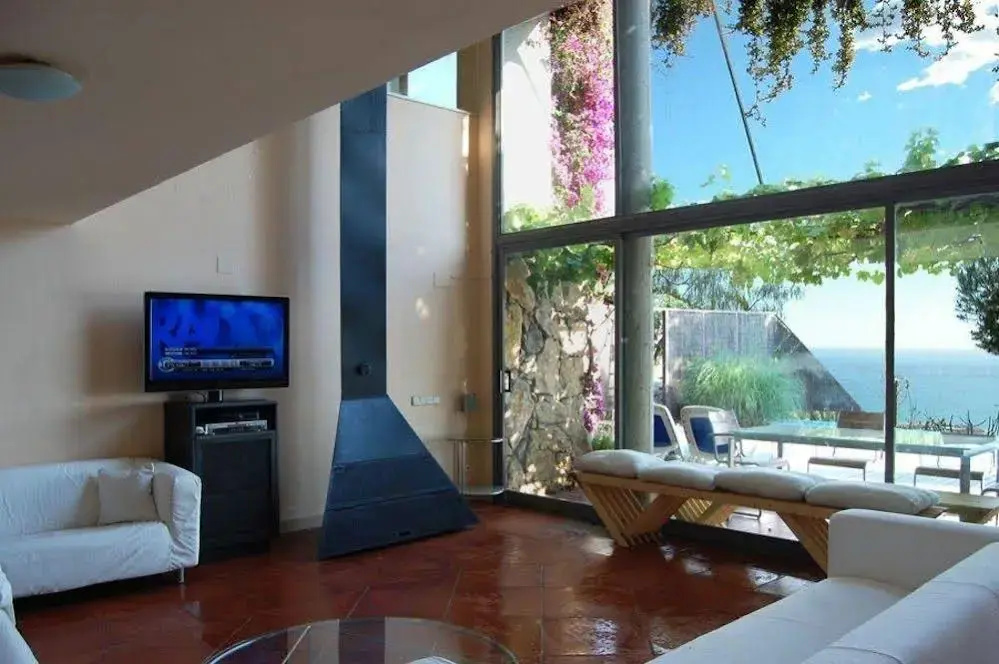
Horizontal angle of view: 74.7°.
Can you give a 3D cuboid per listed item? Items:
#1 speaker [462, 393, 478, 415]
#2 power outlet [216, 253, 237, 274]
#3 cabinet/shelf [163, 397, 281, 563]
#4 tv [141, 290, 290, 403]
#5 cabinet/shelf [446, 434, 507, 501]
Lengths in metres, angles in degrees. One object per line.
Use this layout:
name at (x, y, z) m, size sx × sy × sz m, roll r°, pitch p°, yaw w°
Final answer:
speaker at (-0.360, 0.840, 7.675) m, size 0.217 × 0.295 × 0.213 m, roll -1°, pitch 1°, yaw -21°
power outlet at (-2.603, -0.671, 6.249) m, size 0.211 × 0.237 × 0.035 m, roll 2°, pitch -4°, yaw -41°
cabinet/shelf at (-2.529, 1.335, 6.020) m, size 0.856 × 1.323 × 0.742 m, roll 3°, pitch -10°, yaw -37°
tv at (-2.583, 0.108, 5.888) m, size 1.113 × 0.765 × 0.118 m, roll 1°, pitch -1°, yaw -32°
cabinet/shelf at (-0.089, 1.550, 7.718) m, size 0.893 × 0.812 × 0.775 m, roll 0°, pitch -2°, yaw -19°
